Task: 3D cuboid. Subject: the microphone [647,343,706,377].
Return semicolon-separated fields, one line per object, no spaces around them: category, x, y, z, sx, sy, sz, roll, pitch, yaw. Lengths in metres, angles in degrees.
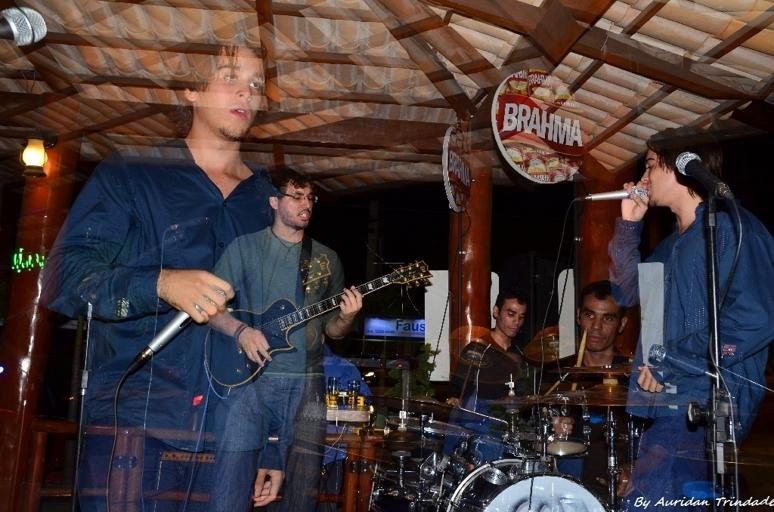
microphone;1.216;0.451;2.727;0.214;0.143;0.364;-5;-22;20

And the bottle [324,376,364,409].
bottle;-0.203;0.637;3.010;0.196;0.128;0.203;2;-6;0

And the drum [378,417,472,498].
drum;0.270;1.014;3.518;0.420;0.399;0.411;-9;-32;40

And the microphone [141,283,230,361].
microphone;-0.700;0.215;2.208;0.369;0.060;0.043;-41;-11;5

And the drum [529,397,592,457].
drum;0.917;0.874;3.573;0.342;0.330;0.339;2;-6;-24

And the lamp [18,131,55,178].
lamp;-1.812;-0.562;3.362;0.135;0.277;0.128;-4;-3;-21

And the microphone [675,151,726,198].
microphone;1.252;-0.322;2.628;0.097;0.301;0.095;6;-59;-18

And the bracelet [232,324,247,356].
bracelet;-0.531;0.288;2.331;0.066;0.090;0.028;2;-4;-25
